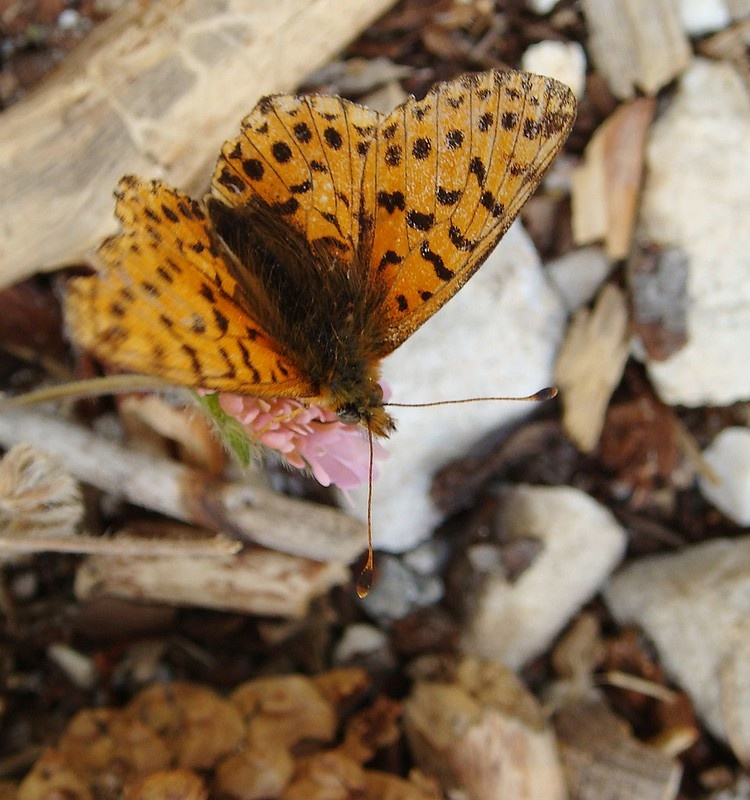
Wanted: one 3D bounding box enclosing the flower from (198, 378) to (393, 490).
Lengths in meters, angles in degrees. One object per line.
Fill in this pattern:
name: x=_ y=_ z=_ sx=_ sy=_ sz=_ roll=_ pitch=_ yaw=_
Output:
flower: x=-0.121 y=0.063 z=1.916 sx=0.277 sy=0.182 sz=0.095 roll=20 pitch=89 yaw=-36
